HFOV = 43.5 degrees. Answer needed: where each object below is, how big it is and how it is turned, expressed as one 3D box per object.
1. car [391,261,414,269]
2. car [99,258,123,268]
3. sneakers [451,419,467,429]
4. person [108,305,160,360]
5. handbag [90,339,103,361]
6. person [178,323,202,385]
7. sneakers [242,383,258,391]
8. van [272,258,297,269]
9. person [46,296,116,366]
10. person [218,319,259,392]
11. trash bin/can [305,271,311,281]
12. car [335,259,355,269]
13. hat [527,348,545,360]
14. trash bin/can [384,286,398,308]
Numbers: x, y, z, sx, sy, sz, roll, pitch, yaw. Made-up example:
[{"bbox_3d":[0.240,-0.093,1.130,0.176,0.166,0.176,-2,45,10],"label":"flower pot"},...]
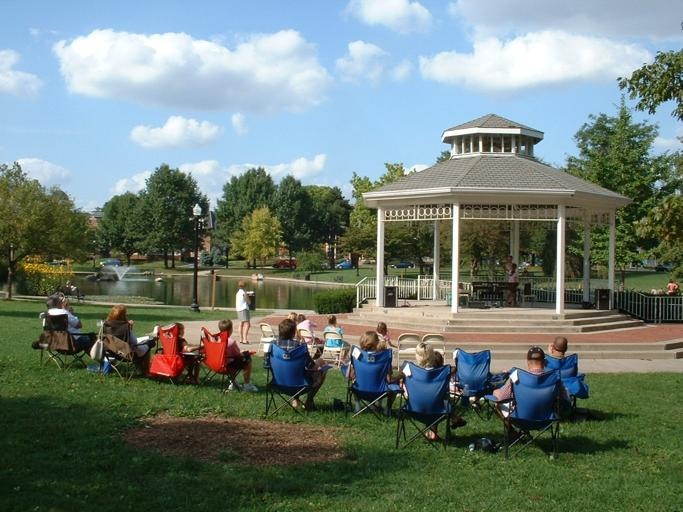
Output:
[{"bbox_3d":[6.347,0.933,87.102,1.815,0.643,0.844,2,-1,-2],"label":"car"},{"bbox_3d":[-24.127,0.713,89.790,1.926,0.657,1.222,2,-1,-7],"label":"car"},{"bbox_3d":[2.149,3.019,15.520,0.343,0.131,0.131,-3,4,-31],"label":"sneakers"},{"bbox_3d":[-4.470,1.761,17.987,0.766,1.166,0.901,9,16,28],"label":"person"},{"bbox_3d":[-5.152,1.964,18.012,0.188,0.477,0.476,1,1,-21],"label":"handbag"},{"bbox_3d":[-3.169,1.909,17.759,0.439,1.341,1.087,0,10,-10],"label":"person"},{"bbox_3d":[-1.861,2.684,17.532,0.281,0.133,0.138,-1,3,-32],"label":"sneakers"},{"bbox_3d":[-5.546,0.803,83.486,2.065,1.001,1.389,3,-1,-12],"label":"van"},{"bbox_3d":[-5.829,1.841,18.437,1.030,1.256,1.050,0,3,9],"label":"person"},{"bbox_3d":[-2.133,2.021,17.714,0.768,1.549,1.449,1,10,-9],"label":"person"},{"bbox_3d":[-2.469,1.481,64.443,0.521,0.478,0.594,0,-3,-9],"label":"trash bin/can"},{"bbox_3d":[0.273,0.778,84.368,1.527,0.816,0.980,1,-3,-13],"label":"car"},{"bbox_3d":[3.485,1.758,15.366,0.198,0.274,0.271,2,-8,11],"label":"hat"},{"bbox_3d":[1.535,1.280,27.461,0.444,0.650,0.332,4,10,14],"label":"trash bin/can"}]
